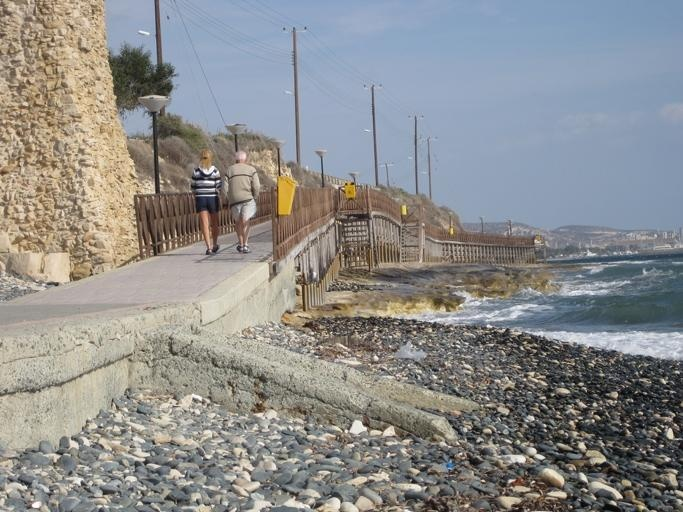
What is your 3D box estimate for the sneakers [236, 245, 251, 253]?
[{"bbox_3d":[-2.091,-0.230,14.698,0.316,0.127,0.142,0,-33,-24],"label":"sneakers"}]
